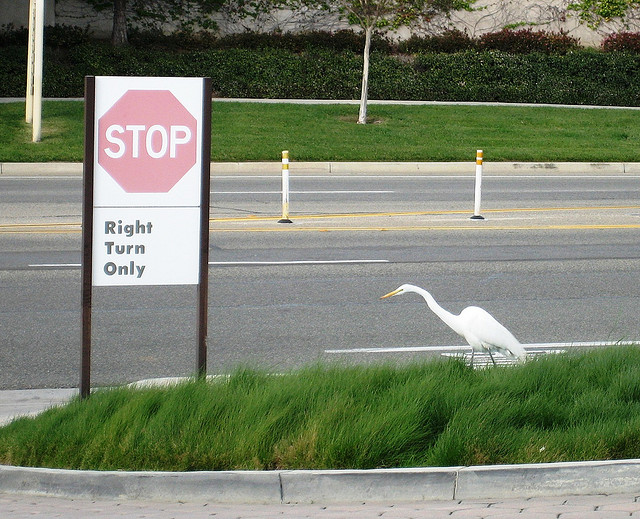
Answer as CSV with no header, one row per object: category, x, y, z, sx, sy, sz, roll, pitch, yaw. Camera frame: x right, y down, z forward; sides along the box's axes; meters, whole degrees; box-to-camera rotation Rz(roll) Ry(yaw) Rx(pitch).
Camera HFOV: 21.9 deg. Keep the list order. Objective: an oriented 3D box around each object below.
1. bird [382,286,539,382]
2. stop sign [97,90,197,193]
bird,2.011,1.040,23.931,2.185,1.570,0.421,-5,-7,-24
stop sign,-2.490,-1.720,23.307,1.407,1.425,0.141,0,6,-2
